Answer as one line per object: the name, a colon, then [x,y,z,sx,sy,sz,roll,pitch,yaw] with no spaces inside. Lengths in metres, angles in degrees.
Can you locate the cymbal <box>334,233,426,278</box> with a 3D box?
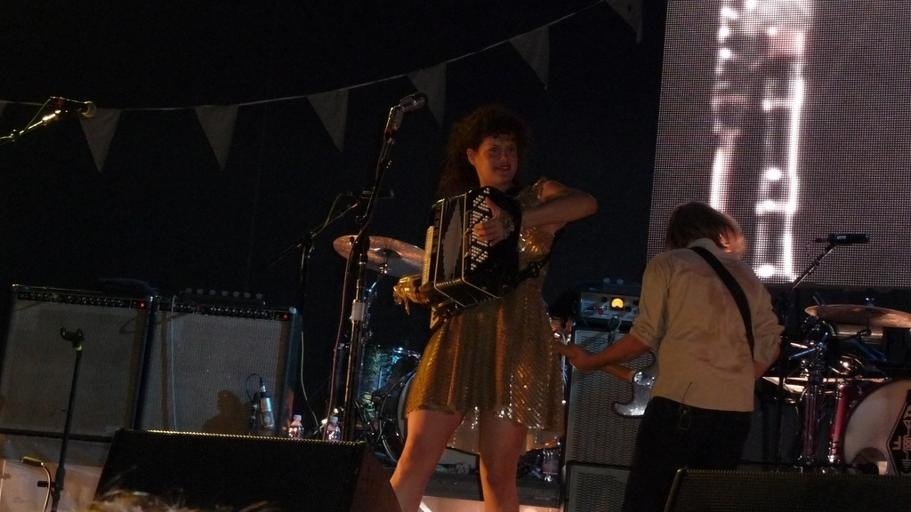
cymbal: [-0.746,0.033,8.026,0.835,0.239,0.829,18,30,38]

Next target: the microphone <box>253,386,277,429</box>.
microphone: [-1.610,1.288,6.866,0.201,0.392,0.103,8,-15,-4]

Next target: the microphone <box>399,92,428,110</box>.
microphone: [-0.313,-1.108,5.890,0.238,0.116,0.103,-2,-40,17]

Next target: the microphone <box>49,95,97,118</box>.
microphone: [-2.690,-1.057,5.773,0.329,0.176,0.159,3,-15,9]

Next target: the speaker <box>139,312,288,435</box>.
speaker: [-2.102,1.029,6.864,1.070,0.921,0.365,5,-11,-3]

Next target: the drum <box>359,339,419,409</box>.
drum: [-0.714,1.217,8.309,0.577,0.560,0.585,-9,-19,43]
